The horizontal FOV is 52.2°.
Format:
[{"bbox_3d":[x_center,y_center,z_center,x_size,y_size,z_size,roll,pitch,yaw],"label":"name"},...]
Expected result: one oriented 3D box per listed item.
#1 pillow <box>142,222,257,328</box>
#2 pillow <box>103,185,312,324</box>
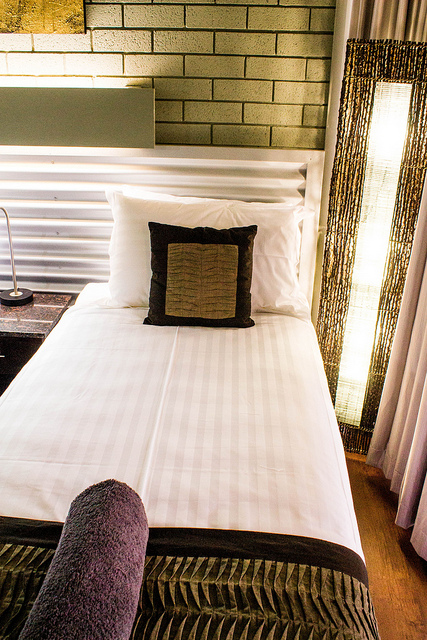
[{"bbox_3d":[-0.049,-0.176,1.708,0.409,0.426,0.148,2,14,-4],"label":"pillow"},{"bbox_3d":[-0.022,-0.263,1.785,0.579,0.413,0.175,3,-2,-6],"label":"pillow"}]
